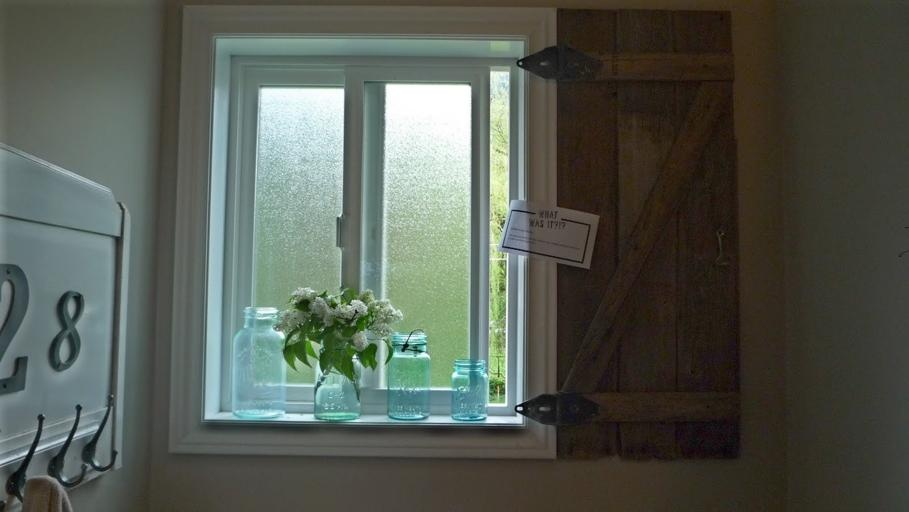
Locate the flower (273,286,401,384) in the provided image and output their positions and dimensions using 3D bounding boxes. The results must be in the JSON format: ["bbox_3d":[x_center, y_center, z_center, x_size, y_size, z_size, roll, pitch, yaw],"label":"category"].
[{"bbox_3d":[-0.437,0.281,2.968,0.400,0.288,0.394,6,-9,-32],"label":"flower"}]

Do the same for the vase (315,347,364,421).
[{"bbox_3d":[-0.442,0.522,2.984,0.204,0.294,0.180,1,-12,-6],"label":"vase"}]

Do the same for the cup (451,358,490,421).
[{"bbox_3d":[0.057,0.516,3.083,0.178,0.238,0.175,1,2,0],"label":"cup"}]

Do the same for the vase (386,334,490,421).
[{"bbox_3d":[-0.067,0.480,3.055,0.329,0.262,0.126,2,-11,-5],"label":"vase"}]
